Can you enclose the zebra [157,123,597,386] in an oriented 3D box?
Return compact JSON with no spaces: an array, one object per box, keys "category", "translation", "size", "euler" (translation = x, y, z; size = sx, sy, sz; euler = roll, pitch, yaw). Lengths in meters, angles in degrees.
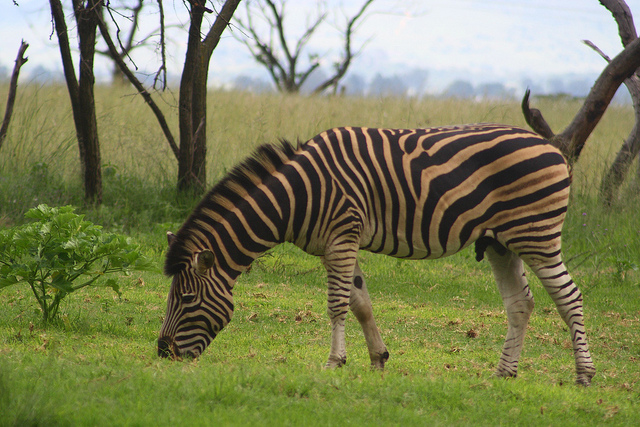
[{"category":"zebra","translation":[0.865,0.644,15.390],"size":[6.074,3.763,1.749],"euler":[-1,1,-1]}]
